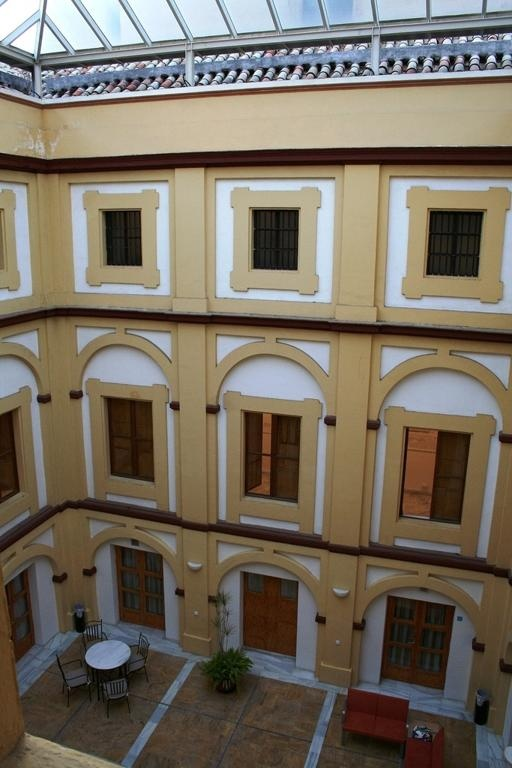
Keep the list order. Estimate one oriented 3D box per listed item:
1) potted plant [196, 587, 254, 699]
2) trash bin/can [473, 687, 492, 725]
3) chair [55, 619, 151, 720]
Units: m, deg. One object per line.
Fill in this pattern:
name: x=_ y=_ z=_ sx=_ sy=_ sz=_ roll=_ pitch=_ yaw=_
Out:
potted plant: x=-0.717 y=5.677 z=13.193 sx=1.166 sy=2.069 sz=1.157 roll=18 pitch=29 yaw=41
trash bin/can: x=4.448 y=6.356 z=11.726 sx=0.272 sy=0.771 sz=0.251 roll=5 pitch=13 yaw=23
chair: x=-3.440 y=6.142 z=13.048 sx=1.308 sy=0.748 sz=1.327 roll=-20 pitch=30 yaw=-35
